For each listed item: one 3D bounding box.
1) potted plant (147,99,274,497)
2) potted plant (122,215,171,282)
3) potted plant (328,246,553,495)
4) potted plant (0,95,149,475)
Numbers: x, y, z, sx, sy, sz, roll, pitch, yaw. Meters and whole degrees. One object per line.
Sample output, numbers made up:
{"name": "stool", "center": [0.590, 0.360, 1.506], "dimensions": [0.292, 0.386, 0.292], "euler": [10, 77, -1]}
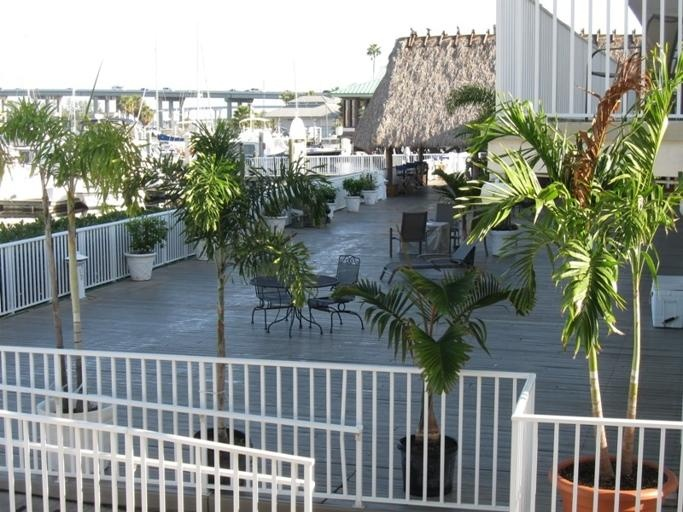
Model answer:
{"name": "potted plant", "center": [-1.344, 0.432, 12.692], "dimensions": [1.250, 3.899, 1.939], "euler": [-2, 5, -23]}
{"name": "potted plant", "center": [-3.512, -0.173, 20.165], "dimensions": [0.575, 1.180, 0.845], "euler": [3, -3, 1]}
{"name": "potted plant", "center": [0.967, 1.273, 11.600], "dimensions": [1.982, 2.526, 1.354], "euler": [-7, 9, -44]}
{"name": "potted plant", "center": [-3.055, -0.288, 12.754], "dimensions": [1.538, 2.954, 0.751], "euler": [1, 5, 18]}
